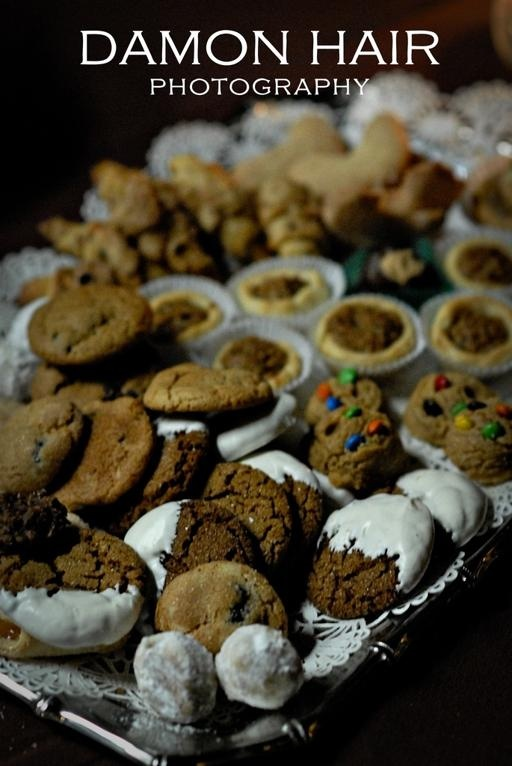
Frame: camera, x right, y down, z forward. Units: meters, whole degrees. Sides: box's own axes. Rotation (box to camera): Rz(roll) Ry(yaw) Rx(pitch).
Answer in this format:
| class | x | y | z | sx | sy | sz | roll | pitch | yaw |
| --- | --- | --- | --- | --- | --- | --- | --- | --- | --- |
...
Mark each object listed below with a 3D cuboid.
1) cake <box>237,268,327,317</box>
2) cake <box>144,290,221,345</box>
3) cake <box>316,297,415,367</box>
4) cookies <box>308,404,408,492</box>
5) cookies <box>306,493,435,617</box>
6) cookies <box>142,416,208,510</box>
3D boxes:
| class | x | y | z | sx | sy | sz | roll | pitch | yaw |
| --- | --- | --- | --- | --- | --- | --- | --- | --- | --- |
| cake | 0.072 | -0.239 | 1.969 | 0.244 | 0.072 | 0.139 | -6 | 36 | 5 |
| cake | -0.182 | -0.179 | 1.959 | 0.178 | 0.069 | 0.170 | -12 | 36 | -2 |
| cake | 0.286 | -0.130 | 1.900 | 0.254 | 0.111 | 0.194 | -5 | 36 | 8 |
| cookies | 0.217 | 0.153 | 1.673 | 0.214 | 0.186 | 0.142 | 10 | 43 | 26 |
| cookies | 0.252 | 0.340 | 1.494 | 0.233 | 0.077 | 0.250 | -18 | 34 | 45 |
| cookies | -0.148 | 0.171 | 1.581 | 0.167 | 0.055 | 0.156 | -37 | 39 | 32 |
